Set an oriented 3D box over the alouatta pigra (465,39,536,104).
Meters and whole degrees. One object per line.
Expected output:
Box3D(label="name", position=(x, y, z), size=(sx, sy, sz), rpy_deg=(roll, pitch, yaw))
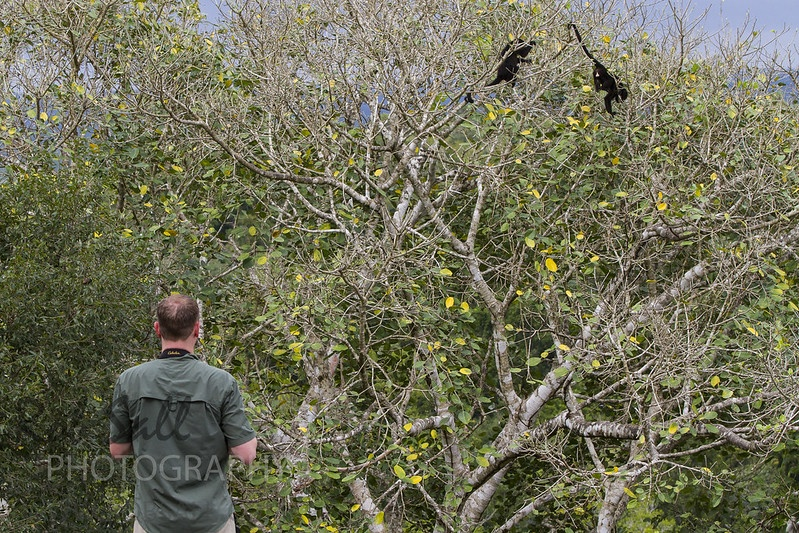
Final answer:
Box3D(label="alouatta pigra", position=(1.192, -2.259, 11.064), size=(0.460, 0.865, 1.018), rpy_deg=(19, 10, 26))
